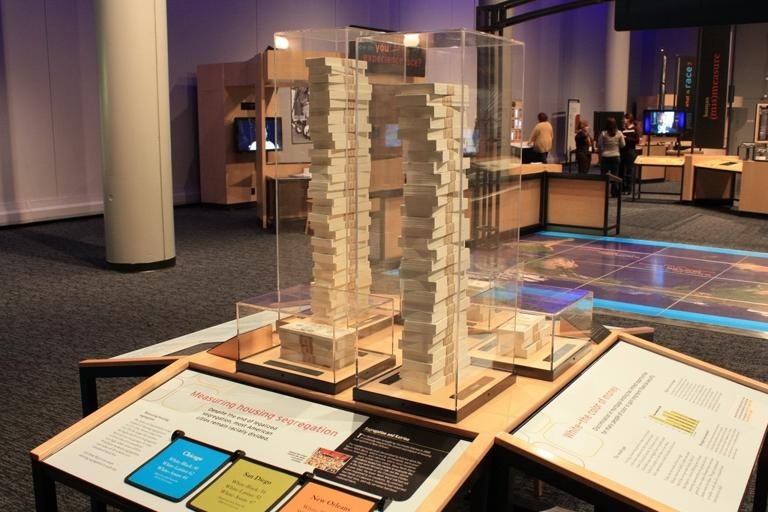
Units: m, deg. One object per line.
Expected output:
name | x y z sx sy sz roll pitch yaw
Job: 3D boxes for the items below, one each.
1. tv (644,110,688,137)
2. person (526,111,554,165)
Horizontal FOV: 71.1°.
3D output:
tv | 8.993 -4.280 17.220 1.372 0.629 0.162 -1 8 -9
person | 4.128 -3.121 14.165 0.554 1.263 1.224 2 18 14
